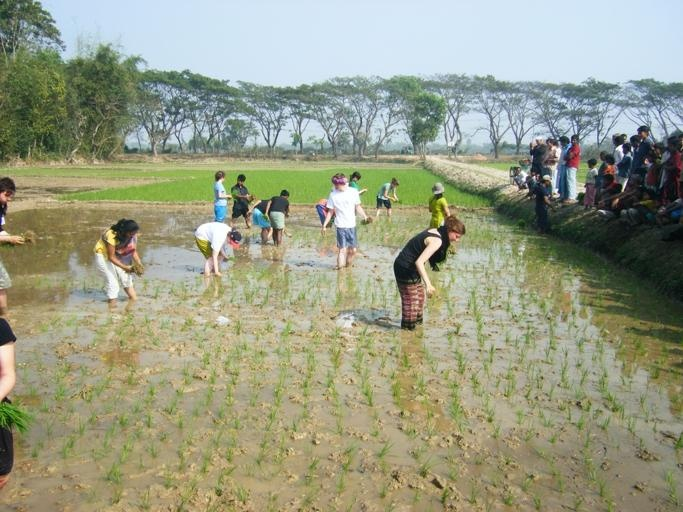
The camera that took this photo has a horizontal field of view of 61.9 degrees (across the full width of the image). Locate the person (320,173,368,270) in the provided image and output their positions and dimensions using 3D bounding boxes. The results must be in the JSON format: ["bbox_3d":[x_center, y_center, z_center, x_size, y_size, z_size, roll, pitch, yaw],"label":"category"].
[{"bbox_3d":[0.058,-0.760,12.110,0.847,1.993,1.082,0,12,-2],"label":"person"}]

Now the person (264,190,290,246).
[{"bbox_3d":[-1.623,-1.010,14.549,0.535,1.511,1.697,-1,12,-7],"label":"person"}]

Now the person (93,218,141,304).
[{"bbox_3d":[-3.642,0.075,9.294,0.742,1.425,0.626,-1,12,-8],"label":"person"}]

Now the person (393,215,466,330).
[{"bbox_3d":[1.526,0.339,9.506,0.889,1.968,0.962,3,58,1],"label":"person"}]
